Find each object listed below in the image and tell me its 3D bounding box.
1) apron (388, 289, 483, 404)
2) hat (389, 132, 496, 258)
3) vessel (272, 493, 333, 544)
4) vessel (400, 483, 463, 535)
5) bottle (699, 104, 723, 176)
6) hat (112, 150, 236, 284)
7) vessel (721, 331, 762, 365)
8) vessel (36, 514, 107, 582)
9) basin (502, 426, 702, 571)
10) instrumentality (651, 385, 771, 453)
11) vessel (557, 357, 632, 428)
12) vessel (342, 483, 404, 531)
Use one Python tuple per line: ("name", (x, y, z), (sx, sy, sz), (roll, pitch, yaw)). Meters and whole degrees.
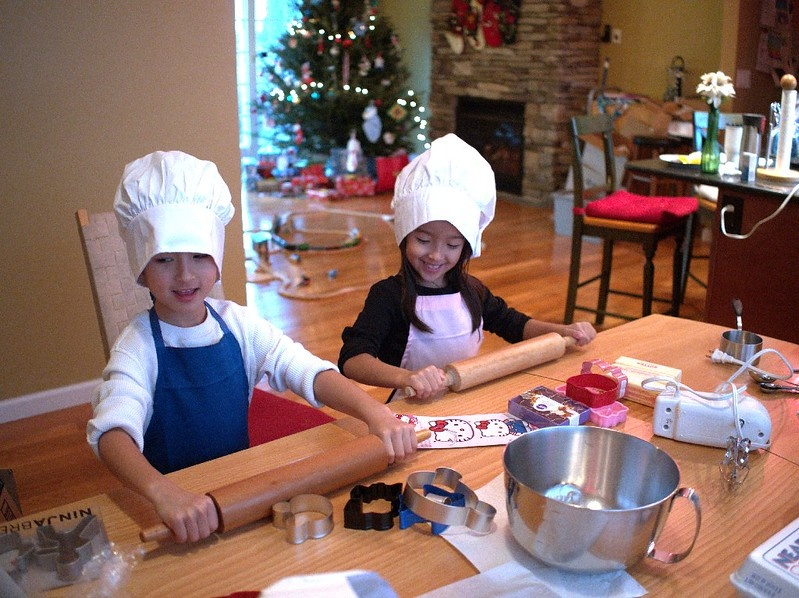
("apron", (0.078, 0.096, 1.715), (0.267, 0.221, 0.362), (-4, 26, 19))
("hat", (0.111, -0.261, 1.690), (0.301, 0.346, 0.383), (11, 16, 17))
("vessel", (-0.152, 0.347, 1.011), (0.083, 0.036, 0.090), (-16, 23, -35))
("vessel", (0.045, 0.336, 1.026), (0.064, 0.034, 0.082), (10, 4, -26))
("bottle", (1.508, -0.775, 3.050), (0.085, 0.308, 0.329), (6, 21, 24))
("hat", (-0.478, -0.175, 1.375), (0.291, 0.261, 0.239), (-2, 0, 45))
("vessel", (0.810, 0.108, 1.519), (0.066, 0.065, 0.088), (-4, 24, 4))
("vessel", (-0.470, 0.356, 0.906), (0.072, 0.026, 0.074), (-7, 33, -38))
("basin", (0.292, 0.303, 0.960), (0.255, 0.120, 0.209), (13, 20, 33))
("instrumentality", (0.589, 0.227, 1.212), (0.182, 0.127, 0.073), (4, 7, 13))
("vessel", (0.428, 0.221, 1.352), (0.127, 0.094, 0.134), (-17, 28, -30))
("vessel", (-0.042, 0.337, 1.040), (0.094, 0.044, 0.091), (-3, 19, 1))
